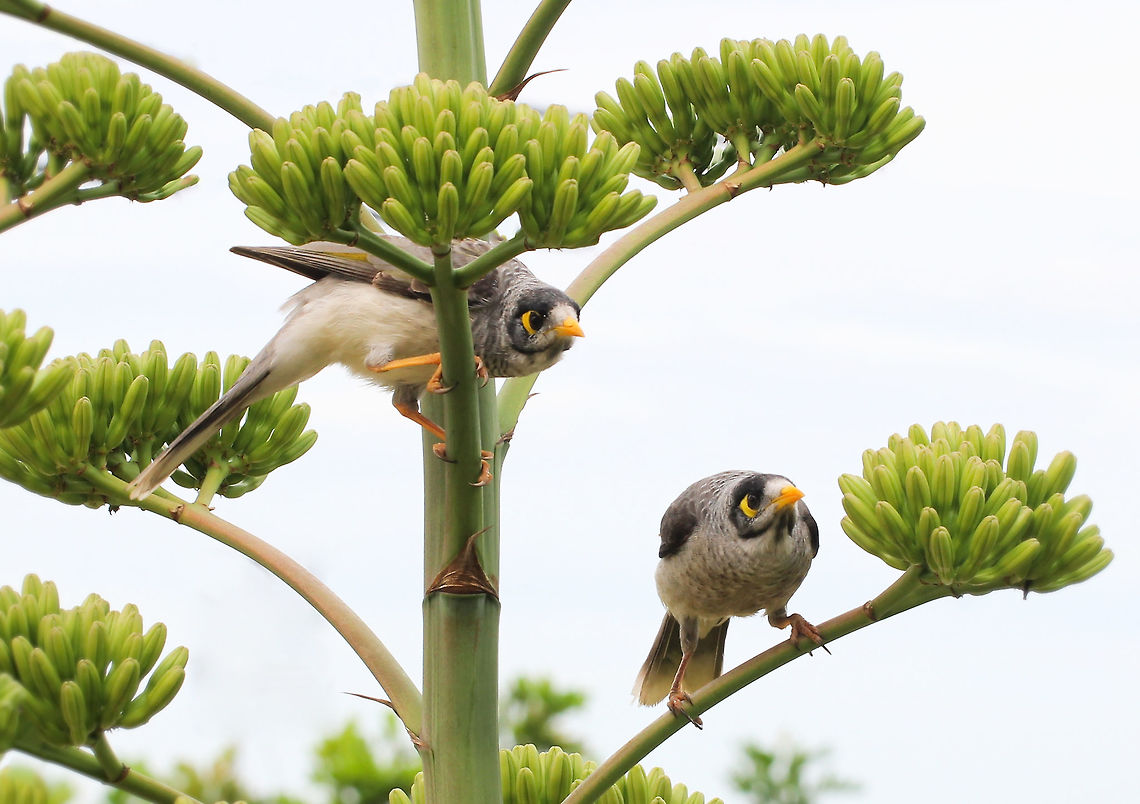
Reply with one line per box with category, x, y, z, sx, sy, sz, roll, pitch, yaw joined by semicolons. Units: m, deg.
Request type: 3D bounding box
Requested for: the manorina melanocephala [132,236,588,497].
manorina melanocephala;-0.657;-0.130;4.404;1.441;0.868;0.503;-2;-19;12
